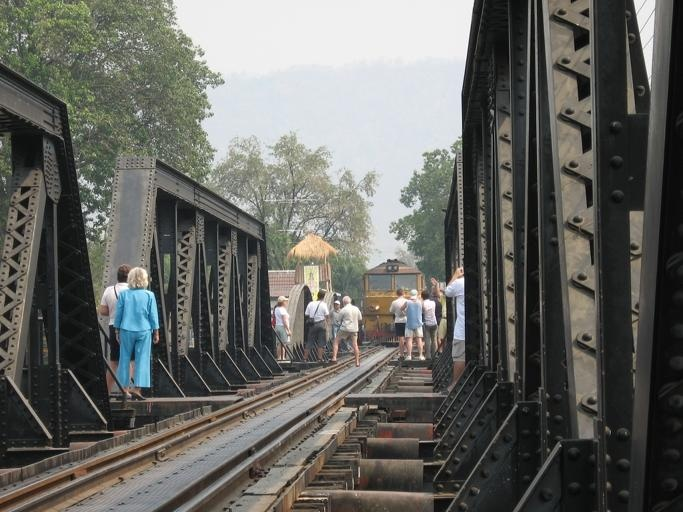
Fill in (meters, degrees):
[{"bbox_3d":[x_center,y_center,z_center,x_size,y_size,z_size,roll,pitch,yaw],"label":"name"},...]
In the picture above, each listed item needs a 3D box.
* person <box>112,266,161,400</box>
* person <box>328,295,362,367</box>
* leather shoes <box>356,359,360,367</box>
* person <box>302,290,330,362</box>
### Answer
[{"bbox_3d":[-2.612,0.920,12.781,0.531,1.488,0.409,-2,-6,-13],"label":"person"},{"bbox_3d":[0.112,1.584,21.804,0.545,1.689,0.489,1,18,-3],"label":"person"},{"bbox_3d":[0.374,2.453,22.643,0.066,0.116,0.238,-3,-4,0],"label":"leather shoes"},{"bbox_3d":[-0.576,1.628,23.969,0.506,1.770,0.612,4,13,5],"label":"person"}]
